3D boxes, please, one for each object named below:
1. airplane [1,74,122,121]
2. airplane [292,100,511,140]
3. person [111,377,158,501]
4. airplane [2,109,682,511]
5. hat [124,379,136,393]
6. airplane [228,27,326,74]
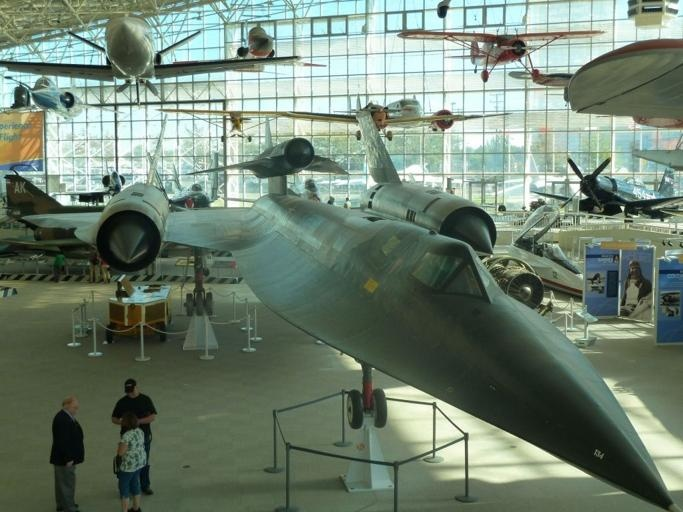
[{"bbox_3d":[-13.326,-7.160,37.826,4.215,1.447,3.987,15,5,-10],"label":"airplane"},{"bbox_3d":[2.212,-6.366,36.324,10.376,1.987,6.263,-1,8,-9],"label":"airplane"},{"bbox_3d":[-3.762,3.289,14.992,0.904,1.897,0.543,-3,14,1],"label":"person"},{"bbox_3d":[0.439,0.744,16.648,9.227,2.980,10.831,-1,13,-17],"label":"airplane"},{"bbox_3d":[-3.901,2.393,14.941,0.306,0.214,0.413,3,2,-11],"label":"hat"},{"bbox_3d":[-3.610,-8.287,33.786,3.659,0.991,2.919,0,-18,-4],"label":"airplane"}]
